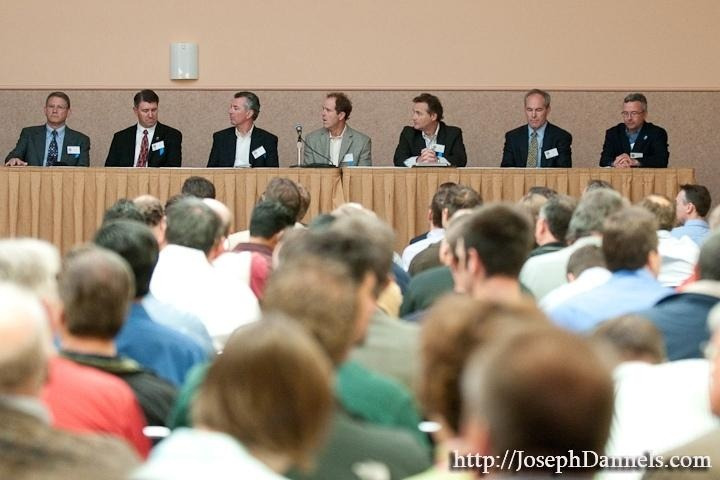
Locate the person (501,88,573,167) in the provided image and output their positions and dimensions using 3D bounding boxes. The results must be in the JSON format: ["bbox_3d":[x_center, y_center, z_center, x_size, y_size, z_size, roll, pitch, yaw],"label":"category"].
[{"bbox_3d":[1.694,-0.886,8.416,0.665,1.145,0.621,5,17,19],"label":"person"}]

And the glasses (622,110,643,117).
[{"bbox_3d":[2.656,-1.213,8.341,0.202,0.070,0.174,4,3,24],"label":"glasses"}]

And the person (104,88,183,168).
[{"bbox_3d":[-2.131,-1.005,8.514,0.612,0.926,0.602,1,10,-26],"label":"person"}]

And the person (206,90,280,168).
[{"bbox_3d":[-1.131,-1.074,8.353,0.727,0.737,0.357,4,2,30],"label":"person"}]

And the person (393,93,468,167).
[{"bbox_3d":[0.660,-0.771,8.151,0.651,1.147,0.562,-3,-1,6],"label":"person"}]

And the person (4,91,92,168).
[{"bbox_3d":[-3.045,-1.100,8.500,0.778,0.736,0.379,3,2,11],"label":"person"}]

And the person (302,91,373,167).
[{"bbox_3d":[-0.233,-0.944,8.446,0.623,0.994,0.522,0,10,13],"label":"person"}]

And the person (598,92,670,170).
[{"bbox_3d":[2.695,-0.798,8.523,0.553,1.267,0.556,0,3,1],"label":"person"}]
